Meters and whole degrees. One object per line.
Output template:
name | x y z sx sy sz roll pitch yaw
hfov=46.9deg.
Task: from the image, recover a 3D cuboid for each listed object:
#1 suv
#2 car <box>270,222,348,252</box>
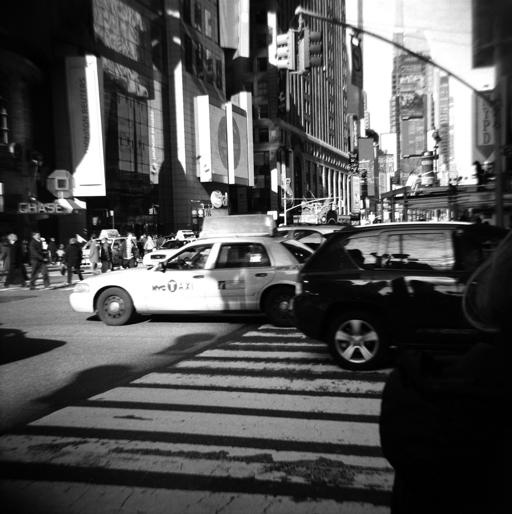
suv | 1.530 0.477 6.712 2.058 1.163 1.349 -10 2 19
car | 1.434 -0.645 16.207 1.690 0.770 0.908 1 5 8
